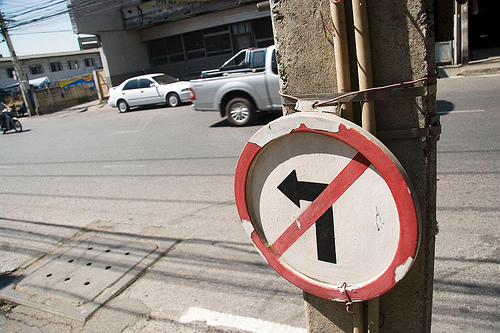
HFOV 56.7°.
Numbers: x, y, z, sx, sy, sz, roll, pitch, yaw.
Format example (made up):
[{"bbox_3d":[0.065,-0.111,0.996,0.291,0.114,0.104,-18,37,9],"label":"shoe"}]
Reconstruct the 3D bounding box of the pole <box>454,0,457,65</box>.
[{"bbox_3d":[7.761,-4.918,17.459,0.092,1.937,0.457,-1,17,22],"label":"pole"}]

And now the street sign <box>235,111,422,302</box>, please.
[{"bbox_3d":[0.515,0.272,3.211,1.257,1.319,0.281,-2,17,21],"label":"street sign"}]

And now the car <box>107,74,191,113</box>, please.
[{"bbox_3d":[-4.420,-3.388,20.748,4.517,1.578,0.867,1,18,32],"label":"car"}]
